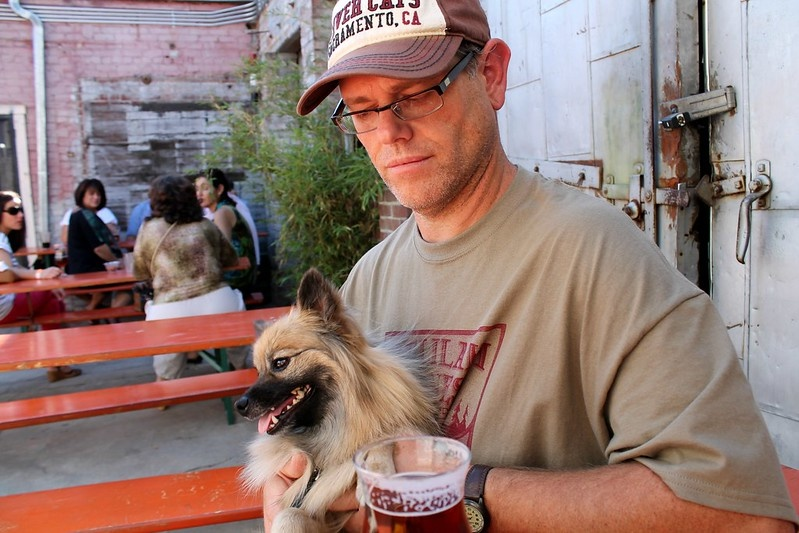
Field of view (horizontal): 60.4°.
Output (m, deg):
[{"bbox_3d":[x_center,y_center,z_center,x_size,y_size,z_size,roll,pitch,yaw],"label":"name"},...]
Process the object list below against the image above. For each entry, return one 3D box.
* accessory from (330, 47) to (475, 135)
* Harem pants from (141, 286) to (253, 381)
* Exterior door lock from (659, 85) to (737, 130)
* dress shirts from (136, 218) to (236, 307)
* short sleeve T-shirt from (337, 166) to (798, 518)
[{"bbox_3d":[0.008,-0.689,2.867,0.466,0.126,0.375,-46,19,-29],"label":"accessory"},{"bbox_3d":[-2.101,0.583,7.066,1.110,0.905,0.894,-5,17,-16],"label":"Harem pants"},{"bbox_3d":[1.804,-0.948,4.078,0.256,0.099,0.252,-21,12,-22],"label":"Exterior door lock"},{"bbox_3d":[-2.181,-0.020,6.861,0.754,0.745,0.445,-12,3,-3],"label":"dress shirts"},{"bbox_3d":[0.728,0.341,2.837,1.414,1.260,0.541,-12,2,43],"label":"short sleeve T-shirt"}]
